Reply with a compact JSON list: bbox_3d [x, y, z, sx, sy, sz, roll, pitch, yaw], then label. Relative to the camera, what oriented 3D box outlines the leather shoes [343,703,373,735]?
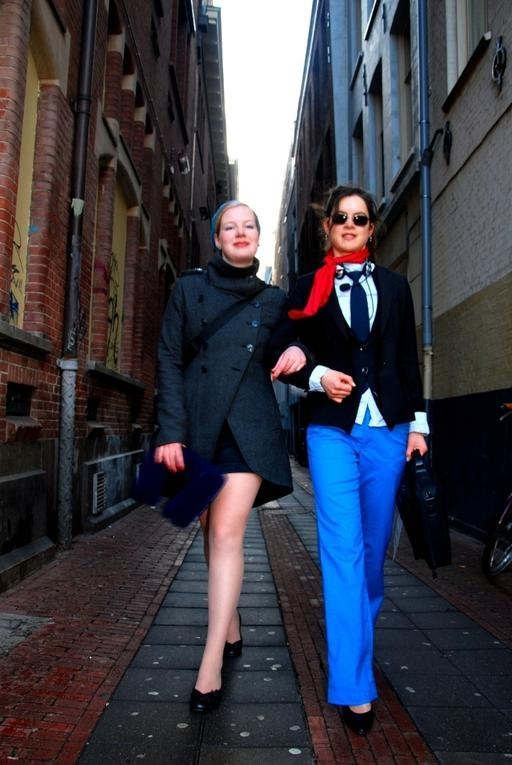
[{"bbox_3d":[0.302,1.005,1.563,0.097,0.068,0.121,-4,-3,12],"label":"leather shoes"}]

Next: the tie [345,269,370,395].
[{"bbox_3d":[0.385,-0.195,1.917,0.066,0.404,0.038,0,-17,1],"label":"tie"}]

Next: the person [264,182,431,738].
[{"bbox_3d":[0.347,0.174,1.916,0.655,2.001,0.411,0,-4,-45],"label":"person"}]

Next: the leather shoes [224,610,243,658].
[{"bbox_3d":[-0.083,1.157,2.371,0.065,0.111,0.237,-1,-12,4],"label":"leather shoes"}]
